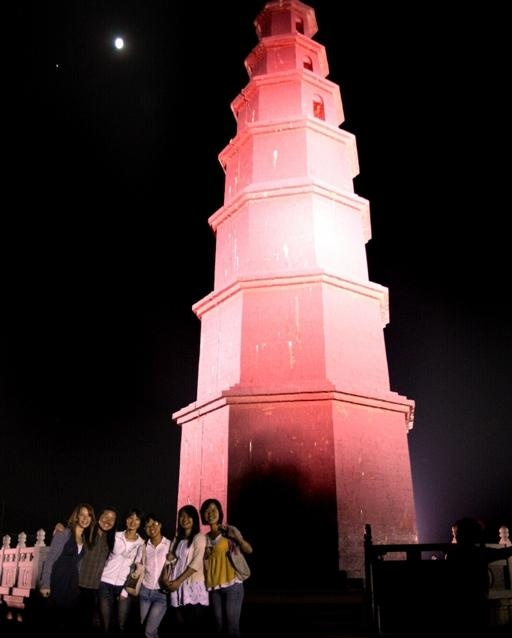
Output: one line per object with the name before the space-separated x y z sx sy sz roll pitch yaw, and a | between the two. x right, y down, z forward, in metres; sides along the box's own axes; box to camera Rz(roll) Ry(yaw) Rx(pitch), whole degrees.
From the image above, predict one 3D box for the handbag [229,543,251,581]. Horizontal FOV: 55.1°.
handbag | -0.177 2.523 5.050 0.210 0.348 0.269 3 -22 -4
